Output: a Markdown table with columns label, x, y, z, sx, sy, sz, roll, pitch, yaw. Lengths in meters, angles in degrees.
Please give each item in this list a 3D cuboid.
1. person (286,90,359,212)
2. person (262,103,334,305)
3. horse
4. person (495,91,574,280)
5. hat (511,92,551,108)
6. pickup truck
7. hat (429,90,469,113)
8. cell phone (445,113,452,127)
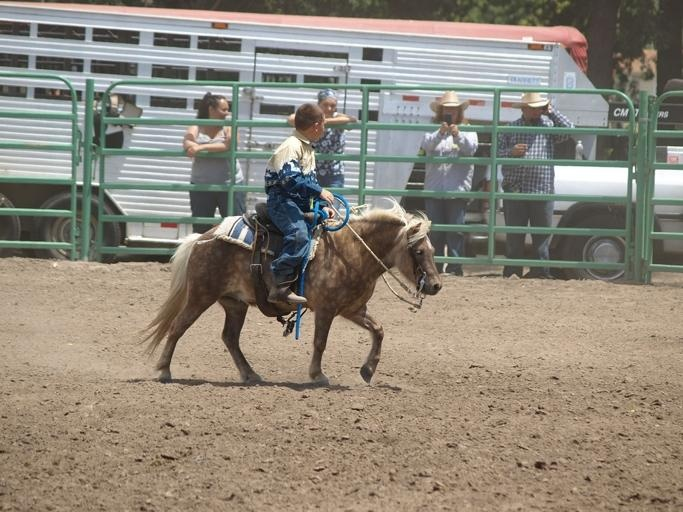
| label | x | y | z | sx | sy | sz | roll | pitch | yaw |
| --- | --- | --- | --- | --- | --- | --- | --- | --- | --- |
| person | -0.224 | -1.387 | 14.803 | 1.152 | 0.534 | 2.128 | -15 | 39 | -10 |
| person | -0.441 | -0.521 | 10.920 | 0.673 | 1.992 | 0.694 | 0 | 16 | -2 |
| horse | -0.534 | 0.442 | 11.283 | 3.224 | 1.636 | 0.764 | 0 | -8 | 19 |
| person | 2.649 | -0.960 | 15.144 | 0.934 | 2.656 | 0.718 | 2 | 16 | 6 |
| hat | 2.602 | -2.140 | 14.962 | 0.354 | 0.135 | 0.380 | -3 | -3 | -18 |
| pickup truck | 3.390 | -0.617 | 15.024 | 3.858 | 1.900 | 1.929 | -1 | 4 | 4 |
| hat | 1.500 | -2.193 | 15.206 | 0.392 | 0.154 | 0.405 | 0 | -8 | 2 |
| cell phone | 1.464 | -1.892 | 14.802 | 0.107 | 0.122 | 0.258 | 2 | 15 | 6 |
